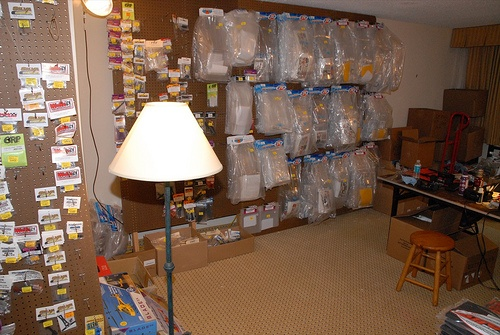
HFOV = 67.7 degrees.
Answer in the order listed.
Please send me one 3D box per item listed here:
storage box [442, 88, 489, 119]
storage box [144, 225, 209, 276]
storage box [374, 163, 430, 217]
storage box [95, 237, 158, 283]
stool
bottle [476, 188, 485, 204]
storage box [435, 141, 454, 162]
[{"bbox_3d":[3.807,-1.184,6.624,0.328,0.447,0.623,-11,20,-23],"label":"storage box"},{"bbox_3d":[-0.846,0.846,4.365,0.517,0.289,0.543,-6,20,-21],"label":"storage box"},{"bbox_3d":[2.054,0.326,5.031,0.321,0.638,0.632,-2,14,-25],"label":"storage box"},{"bbox_3d":[-1.245,1.040,3.996,0.421,0.271,0.417,-8,27,-17],"label":"storage box"},{"bbox_3d":[1.891,1.128,4.068,0.485,0.608,0.525,14,-4,14],"label":"stool"},{"bbox_3d":[2.473,0.297,3.986,0.078,0.155,0.078,-3,18,1],"label":"bottle"},{"bbox_3d":[3.266,-0.275,6.250,0.397,0.332,0.116,-13,20,-27],"label":"storage box"}]
